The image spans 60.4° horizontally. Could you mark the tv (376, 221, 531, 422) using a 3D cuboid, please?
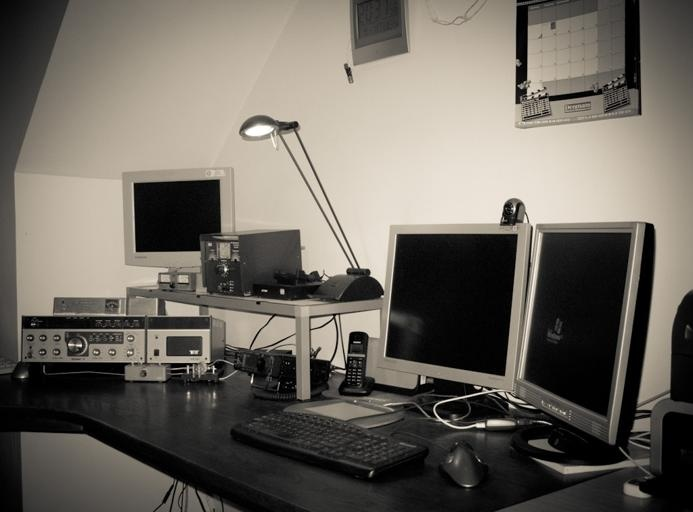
[{"bbox_3d":[0.353,0.177,1.925,0.504,0.521,0.179,2,-4,40],"label":"tv"}]

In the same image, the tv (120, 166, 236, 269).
[{"bbox_3d":[-0.765,-0.160,2.766,0.489,0.448,0.170,-1,2,3],"label":"tv"}]

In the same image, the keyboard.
[{"bbox_3d":[-0.065,0.503,1.606,0.538,0.059,0.183,3,8,32],"label":"keyboard"}]

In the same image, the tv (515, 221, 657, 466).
[{"bbox_3d":[0.593,0.162,1.539,0.172,0.507,0.395,-4,7,-22],"label":"tv"}]

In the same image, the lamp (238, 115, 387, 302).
[{"bbox_3d":[-0.188,-0.218,2.462,0.412,0.738,0.739,-6,8,-36],"label":"lamp"}]

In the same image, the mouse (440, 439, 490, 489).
[{"bbox_3d":[0.296,0.510,1.504,0.126,0.072,0.187,-1,0,5],"label":"mouse"}]
